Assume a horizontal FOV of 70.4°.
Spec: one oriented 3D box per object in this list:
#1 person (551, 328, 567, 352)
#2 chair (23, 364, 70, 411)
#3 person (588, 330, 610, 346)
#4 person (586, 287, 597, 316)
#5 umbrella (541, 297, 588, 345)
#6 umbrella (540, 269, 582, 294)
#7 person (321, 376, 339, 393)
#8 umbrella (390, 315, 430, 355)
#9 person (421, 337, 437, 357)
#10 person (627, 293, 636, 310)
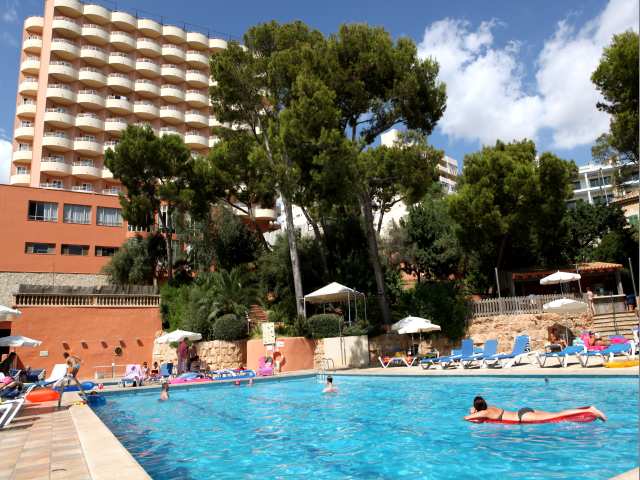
[{"bbox_3d":[10.442,4.328,19.789,0.838,0.907,0.260,-8,5,3],"label":"person"},{"bbox_3d":[-7.425,3.883,12.479,1.387,0.950,0.756,5,7,-43],"label":"chair"},{"bbox_3d":[12.385,4.309,20.023,0.905,0.361,0.989,0,-5,-2],"label":"person"},{"bbox_3d":[13.450,3.060,22.436,0.330,1.238,1.009,-6,-6,29],"label":"person"},{"bbox_3d":[11.234,3.783,20.791,1.933,2.395,2.019,1,-1,-10],"label":"umbrella"},{"bbox_3d":[14.483,2.392,27.083,1.704,1.462,1.852,-3,0,5],"label":"umbrella"},{"bbox_3d":[0.345,4.674,14.901,0.476,0.592,1.144,-2,-6,-10],"label":"person"},{"bbox_3d":[4.051,4.384,19.801,1.703,1.407,1.825,-2,2,4],"label":"umbrella"},{"bbox_3d":[5.109,4.923,21.120,0.553,0.799,0.780,-1,-7,-2],"label":"person"},{"bbox_3d":[15.945,3.113,23.128,0.418,0.712,2.448,-7,-6,34],"label":"person"}]
